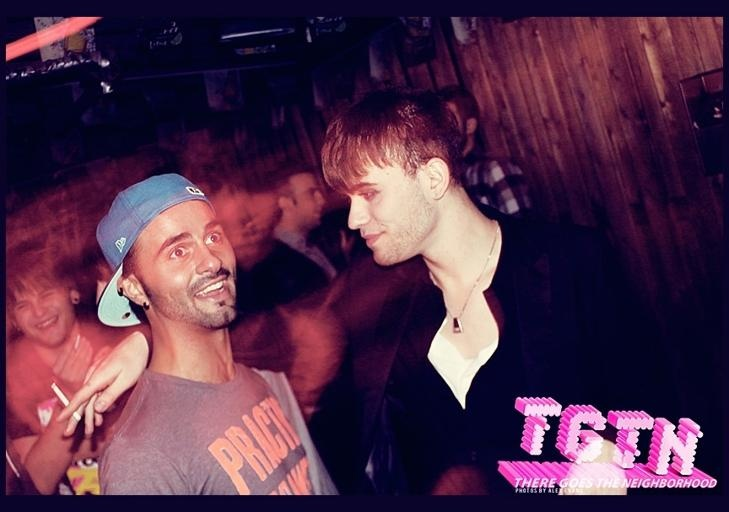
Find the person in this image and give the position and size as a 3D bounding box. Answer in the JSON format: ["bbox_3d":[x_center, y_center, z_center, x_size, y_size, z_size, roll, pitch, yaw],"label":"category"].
[{"bbox_3d":[-0.035,0.241,3.183,2.178,1.488,1.196,-10,-4,14],"label":"person"}]
